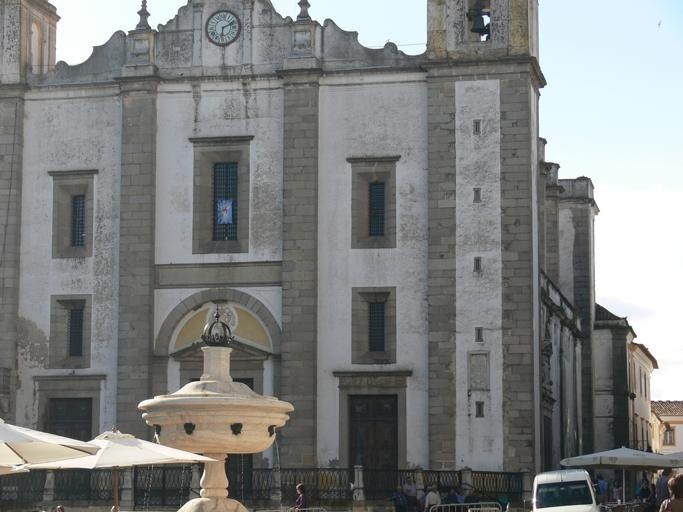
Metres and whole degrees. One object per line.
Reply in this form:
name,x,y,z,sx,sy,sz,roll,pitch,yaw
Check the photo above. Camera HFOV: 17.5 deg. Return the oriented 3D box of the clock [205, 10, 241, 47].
clock,-4.526,-8.642,84.233,1.284,1.177,0.070,-16,-4,4
